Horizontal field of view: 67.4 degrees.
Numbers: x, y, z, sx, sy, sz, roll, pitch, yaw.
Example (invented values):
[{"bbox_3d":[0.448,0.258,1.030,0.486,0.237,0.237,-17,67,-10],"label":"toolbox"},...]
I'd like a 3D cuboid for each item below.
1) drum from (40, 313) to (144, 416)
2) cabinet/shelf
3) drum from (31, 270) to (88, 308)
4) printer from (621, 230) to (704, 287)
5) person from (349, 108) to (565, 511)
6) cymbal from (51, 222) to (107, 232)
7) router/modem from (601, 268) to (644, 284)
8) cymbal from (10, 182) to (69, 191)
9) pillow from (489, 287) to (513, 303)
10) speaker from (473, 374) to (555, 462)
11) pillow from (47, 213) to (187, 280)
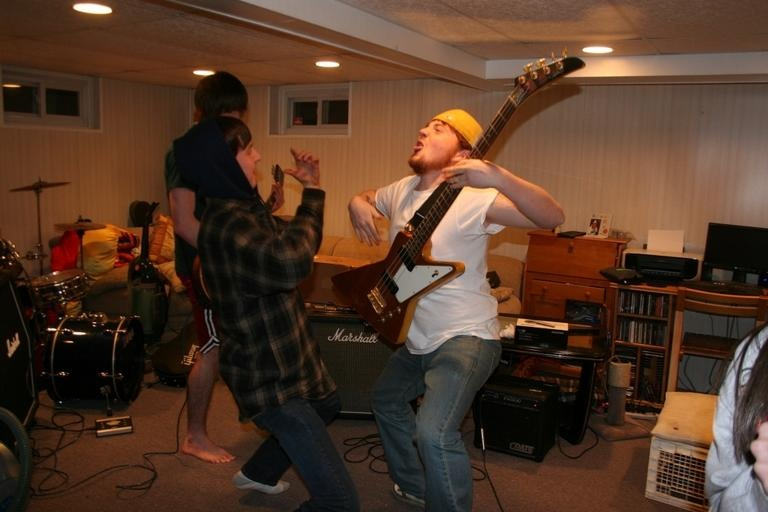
[{"bbox_3d":[-2.320,0.824,4.639,0.795,0.689,0.784,-1,4,-32],"label":"drum"},{"bbox_3d":[1.836,0.316,5.728,0.849,1.010,0.444,7,15,20],"label":"cabinet/shelf"},{"bbox_3d":[-2.727,0.277,4.834,0.300,0.247,0.452,9,11,41],"label":"drum"},{"bbox_3d":[2.491,0.001,5.158,0.607,0.403,0.438,4,14,26],"label":"printer"},{"bbox_3d":[0.323,0.373,3.368,0.731,2.438,1.010,-5,11,-30],"label":"person"},{"bbox_3d":[-3.057,-0.276,5.810,0.401,0.121,0.462,-1,8,-14],"label":"cymbal"},{"bbox_3d":[1.980,0.168,4.805,0.180,0.049,0.182,12,12,39],"label":"router/modem"},{"bbox_3d":[-3.627,-0.727,6.079,0.494,0.148,0.733,-4,9,-30],"label":"cymbal"},{"bbox_3d":[1.150,0.370,5.571,0.264,0.082,0.267,9,17,34],"label":"pillow"},{"bbox_3d":[0.955,1.095,4.302,0.680,0.585,0.537,3,6,32],"label":"speaker"},{"bbox_3d":[-2.819,-0.082,6.238,1.236,0.407,1.169,-3,1,-17],"label":"pillow"}]
